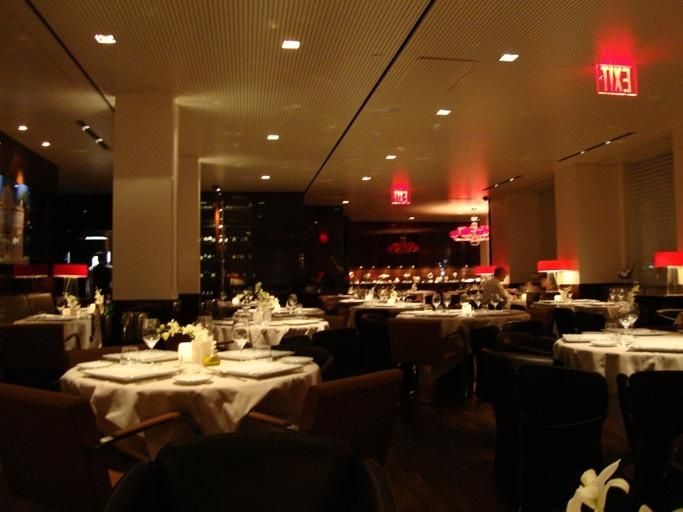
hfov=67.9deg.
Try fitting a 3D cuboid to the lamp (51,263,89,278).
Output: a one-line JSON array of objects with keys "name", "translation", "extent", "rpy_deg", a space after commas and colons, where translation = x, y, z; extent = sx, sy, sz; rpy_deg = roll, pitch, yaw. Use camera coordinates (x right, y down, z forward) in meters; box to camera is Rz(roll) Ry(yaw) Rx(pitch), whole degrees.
[{"name": "lamp", "translation": [-5.125, 0.296, 9.711], "extent": [0.539, 0.231, 0.553], "rpy_deg": [1, -3, -22]}]

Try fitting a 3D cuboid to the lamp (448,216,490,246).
[{"name": "lamp", "translation": [4.500, -0.930, 17.995], "extent": [1.022, 0.831, 0.264], "rpy_deg": [4, 8, 35]}]

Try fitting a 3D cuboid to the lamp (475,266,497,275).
[{"name": "lamp", "translation": [3.711, 0.393, 13.101], "extent": [0.359, 0.157, 0.377], "rpy_deg": [-2, -2, 27]}]
